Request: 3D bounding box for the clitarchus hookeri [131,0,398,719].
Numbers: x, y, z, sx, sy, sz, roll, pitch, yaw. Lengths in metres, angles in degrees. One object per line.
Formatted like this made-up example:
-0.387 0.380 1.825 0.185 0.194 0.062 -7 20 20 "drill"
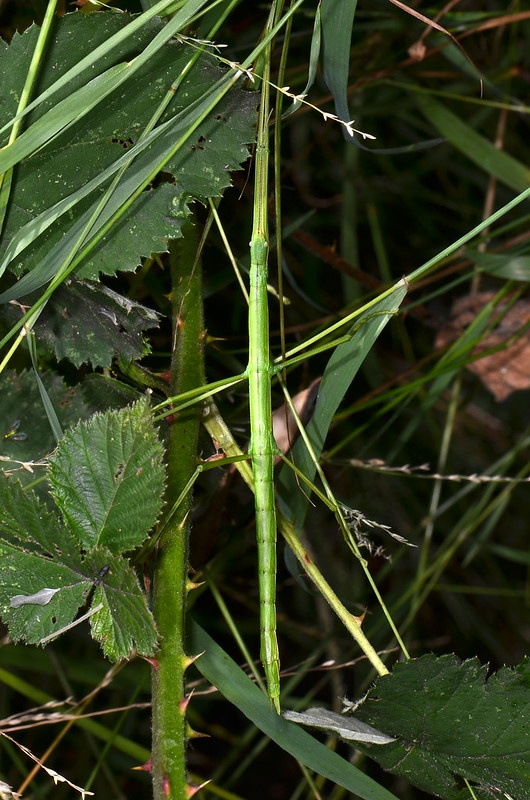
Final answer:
0.001 -0.040 0.779 0.275 0.597 0.072 -4 -1 -23 "clitarchus hookeri"
